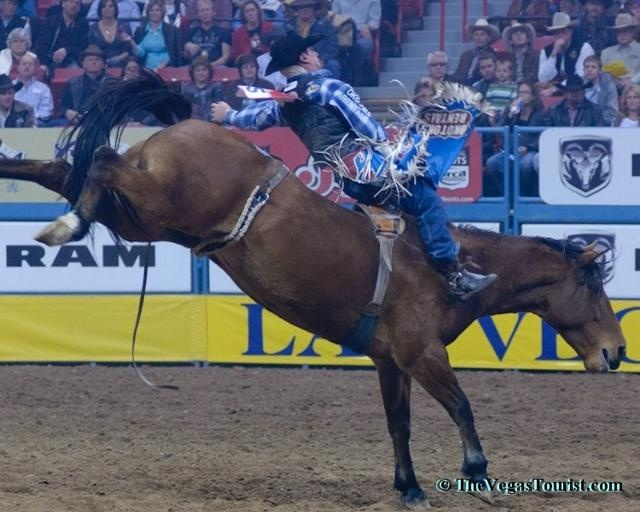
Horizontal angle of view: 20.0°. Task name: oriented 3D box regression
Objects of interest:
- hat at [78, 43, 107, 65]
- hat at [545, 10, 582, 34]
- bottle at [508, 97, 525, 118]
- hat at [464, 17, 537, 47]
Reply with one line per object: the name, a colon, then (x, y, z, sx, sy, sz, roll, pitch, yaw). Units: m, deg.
hat: (-3.300, -2.971, 26.592, 0.325, 0.139, 0.365, 1, -16, -10)
hat: (3.551, -3.440, 26.504, 0.308, 0.138, 0.359, -14, 5, 25)
bottle: (2.700, -2.037, 24.783, 0.136, 0.144, 0.342, -29, 16, 35)
hat: (2.721, -3.319, 26.435, 0.730, 0.448, 0.286, -2, 5, 19)
